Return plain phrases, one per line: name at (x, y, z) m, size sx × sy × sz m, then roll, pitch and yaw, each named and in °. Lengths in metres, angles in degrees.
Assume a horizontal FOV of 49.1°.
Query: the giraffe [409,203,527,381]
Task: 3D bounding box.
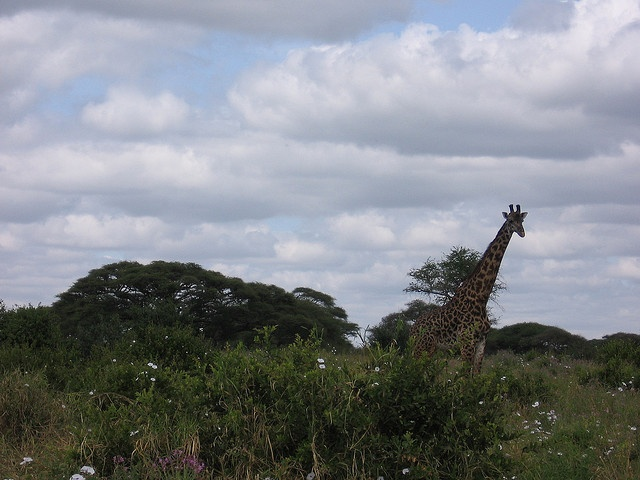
giraffe at (3.601, 1.074, 17.090) m, size 2.466 × 4.358 × 7.027 m, roll 2°, pitch -4°, yaw 15°
